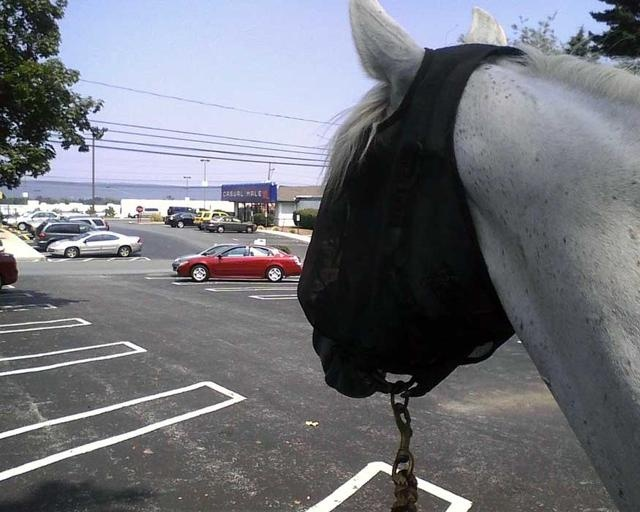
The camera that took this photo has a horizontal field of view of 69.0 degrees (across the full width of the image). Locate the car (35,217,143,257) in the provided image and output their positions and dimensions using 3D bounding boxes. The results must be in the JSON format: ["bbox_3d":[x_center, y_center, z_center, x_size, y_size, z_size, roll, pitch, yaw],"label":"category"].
[{"bbox_3d":[-14.604,-1.040,30.239,5.579,2.059,3.637,0,4,-12],"label":"car"}]
